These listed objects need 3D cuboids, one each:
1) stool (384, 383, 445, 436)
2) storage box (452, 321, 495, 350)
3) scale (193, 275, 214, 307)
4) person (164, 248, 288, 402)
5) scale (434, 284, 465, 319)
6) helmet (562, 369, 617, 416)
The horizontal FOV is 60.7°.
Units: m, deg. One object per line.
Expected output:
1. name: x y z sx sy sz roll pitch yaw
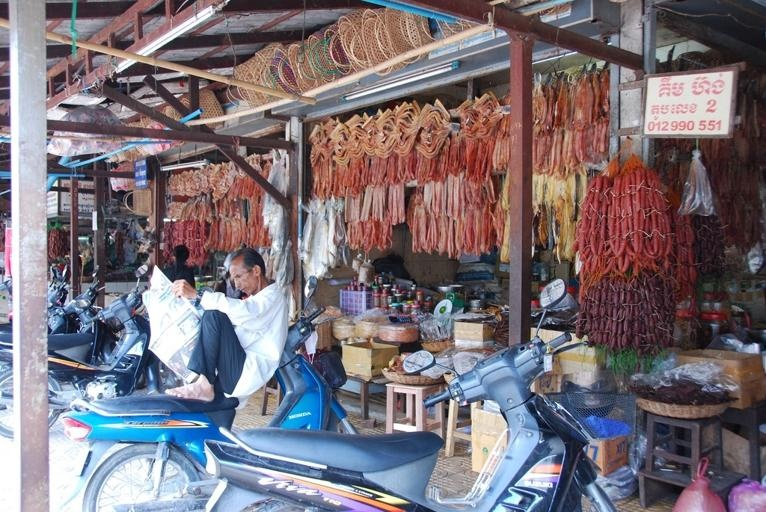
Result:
1. stool: 0.307 1.388 5.996 0.548 0.396 0.551 6 -15 -24
2. storage box: 0.889 0.785 6.501 0.436 0.241 0.283 2 -8 21
3. scale: -1.832 0.340 6.735 0.218 0.249 0.335 3 6 -6
4. person: -1.154 0.510 4.929 0.613 1.179 0.845 -13 -23 40
5. scale: 0.821 0.579 7.692 0.260 0.158 0.405 13 29 38
6. helmet: 1.466 1.010 4.674 0.328 0.364 0.439 -8 -2 19
